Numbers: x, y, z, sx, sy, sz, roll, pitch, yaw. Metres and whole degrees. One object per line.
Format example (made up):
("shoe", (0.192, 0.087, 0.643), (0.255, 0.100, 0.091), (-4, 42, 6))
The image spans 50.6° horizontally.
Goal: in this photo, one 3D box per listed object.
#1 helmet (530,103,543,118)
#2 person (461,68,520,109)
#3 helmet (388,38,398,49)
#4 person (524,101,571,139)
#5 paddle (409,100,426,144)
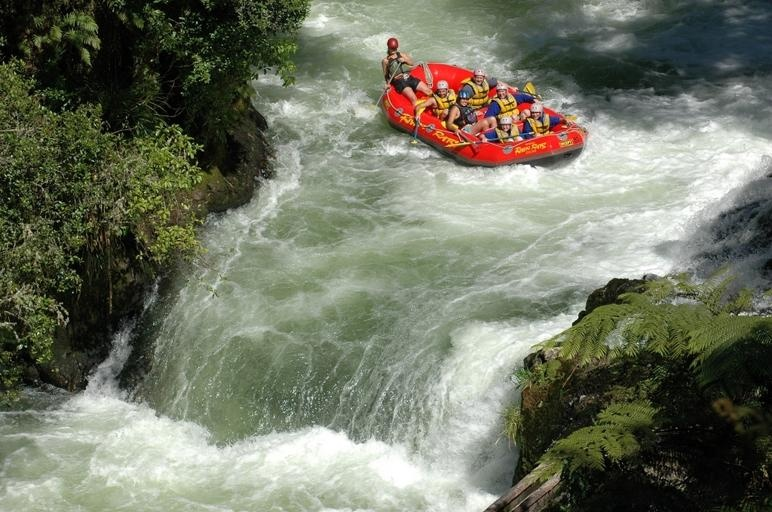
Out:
("helmet", (4.474, -4.363, 24.119), (0.297, 0.391, 0.441), (-2, 46, 33))
("person", (3.243, -5.233, 25.481), (1.248, 1.404, 0.391), (-34, 34, -22))
("helmet", (0.192, -6.848, 25.953), (0.306, 0.210, 0.439), (-5, 48, -17))
("person", (4.717, -3.953, 23.981), (1.098, 0.440, 1.172), (22, 56, 19))
("paddle", (0.970, -4.152, 24.884), (0.264, 0.295, 1.733), (10, 81, 21))
